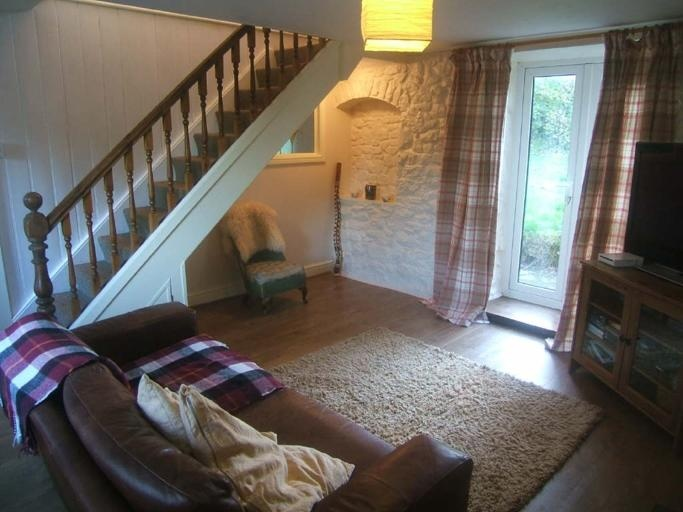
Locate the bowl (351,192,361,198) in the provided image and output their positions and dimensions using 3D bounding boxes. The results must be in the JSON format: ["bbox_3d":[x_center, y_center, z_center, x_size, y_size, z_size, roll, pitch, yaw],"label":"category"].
[{"bbox_3d":[0.172,-0.762,6.410,0.161,0.063,0.074,16,24,37],"label":"bowl"}]

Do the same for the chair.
[{"bbox_3d":[-0.812,-0.014,5.409,0.821,1.057,0.626,16,24,37],"label":"chair"}]
